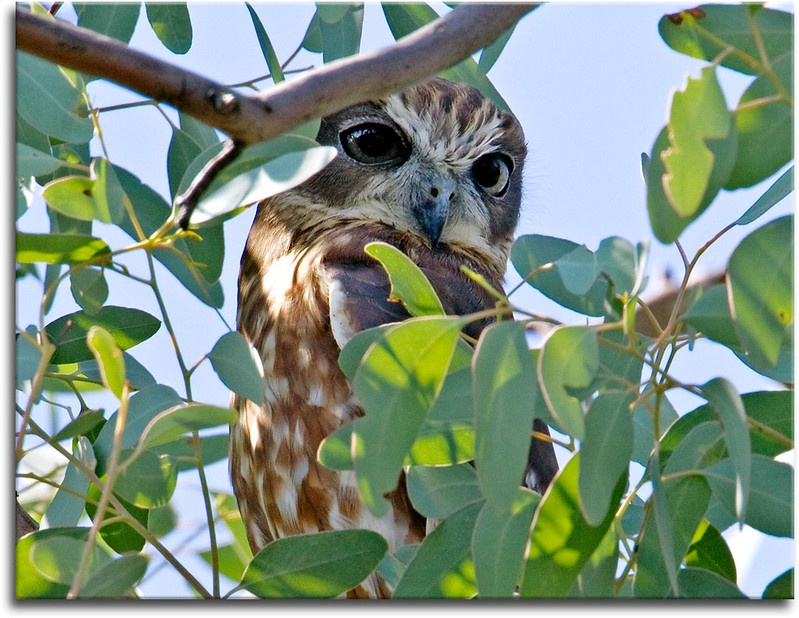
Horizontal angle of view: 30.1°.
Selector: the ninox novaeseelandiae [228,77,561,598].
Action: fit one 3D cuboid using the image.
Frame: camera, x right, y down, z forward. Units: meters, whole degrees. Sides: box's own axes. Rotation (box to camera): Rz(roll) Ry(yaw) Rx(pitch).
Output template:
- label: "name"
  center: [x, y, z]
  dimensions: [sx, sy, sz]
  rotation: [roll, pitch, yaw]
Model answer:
- label: "ninox novaeseelandiae"
  center: [-0.014, -0.046, 3.355]
  dimensions: [0.709, 1.143, 0.623]
  rotation: [3, -39, -7]
